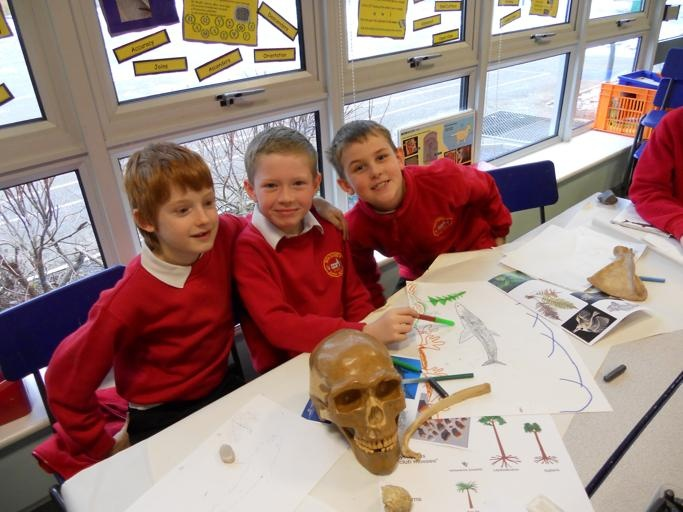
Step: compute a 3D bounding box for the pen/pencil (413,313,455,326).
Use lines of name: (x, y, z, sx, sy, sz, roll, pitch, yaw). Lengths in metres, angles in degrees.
pen/pencil: (0.266, 0.182, 1.374, 0.081, 0.019, 0.017, 13, 9, 16)

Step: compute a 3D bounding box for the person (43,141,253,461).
person: (-0.571, 0.136, 1.398, 0.237, 0.889, 0.631, 22, 42, 31)

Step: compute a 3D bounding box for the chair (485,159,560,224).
chair: (0.812, -0.264, 2.172, 0.260, 0.253, 0.365, -3, -1, 3)

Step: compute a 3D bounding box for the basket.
basket: (1.900, -1.002, 3.249, 0.346, 0.498, 0.161, 15, 12, 3)
